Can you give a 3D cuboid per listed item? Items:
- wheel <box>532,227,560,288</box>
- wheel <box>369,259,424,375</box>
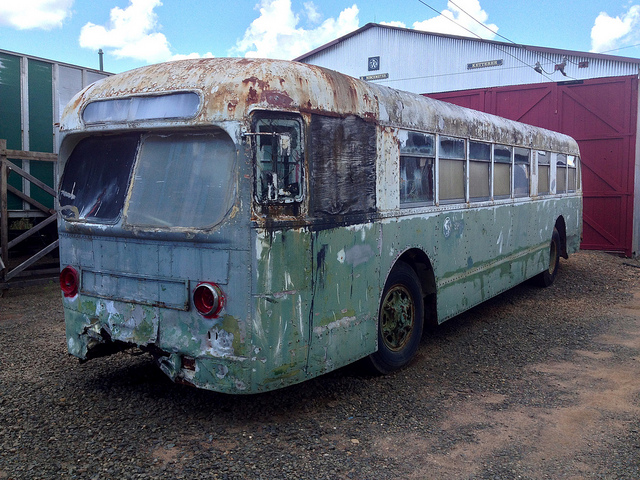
[{"bbox_3d":[4.900,0.352,10.809,0.391,1.244,1.154,6,11,33],"label":"wheel"},{"bbox_3d":[0.960,0.945,6.080,0.159,1.380,1.049,7,11,38],"label":"wheel"}]
